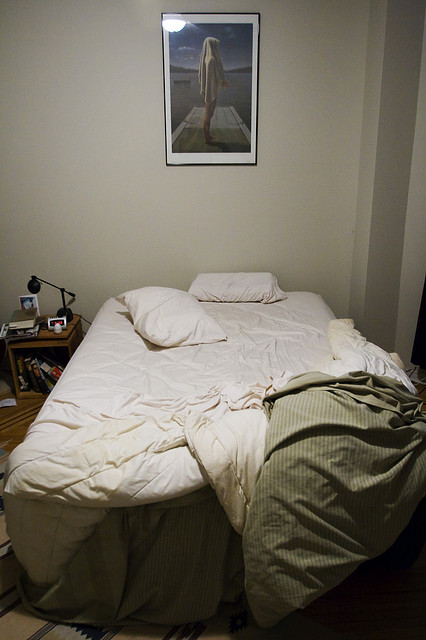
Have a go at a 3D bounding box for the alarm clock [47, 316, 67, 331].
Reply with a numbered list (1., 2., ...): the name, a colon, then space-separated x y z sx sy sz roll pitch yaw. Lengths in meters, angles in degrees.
1. alarm clock: -0.962 0.013 3.027 0.071 0.042 0.105 -1 20 -12

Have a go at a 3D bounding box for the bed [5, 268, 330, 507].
1. bed: -0.123 0.156 2.072 1.176 0.327 1.735 1 15 14

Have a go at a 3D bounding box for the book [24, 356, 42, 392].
1. book: -1.074 0.327 2.953 0.035 0.156 0.149 -18 16 -28

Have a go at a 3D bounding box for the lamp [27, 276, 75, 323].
1. lamp: -1.028 -0.150 3.146 0.267 0.327 0.105 -2 38 -9

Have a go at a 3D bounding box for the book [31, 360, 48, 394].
1. book: -1.039 0.336 2.949 0.034 0.150 0.144 -23 26 -13

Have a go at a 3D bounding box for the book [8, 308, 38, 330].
1. book: -1.139 -0.004 2.936 0.108 0.039 0.170 -5 35 -8

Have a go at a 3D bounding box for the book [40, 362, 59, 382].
1. book: -0.973 0.298 2.909 0.026 0.112 0.105 -40 20 -8

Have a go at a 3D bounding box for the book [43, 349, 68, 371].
1. book: -0.997 0.248 3.156 0.162 0.050 0.125 32 14 6

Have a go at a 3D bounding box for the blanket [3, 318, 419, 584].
1. blanket: -0.021 0.502 1.518 0.992 0.327 0.770 -10 29 -4
